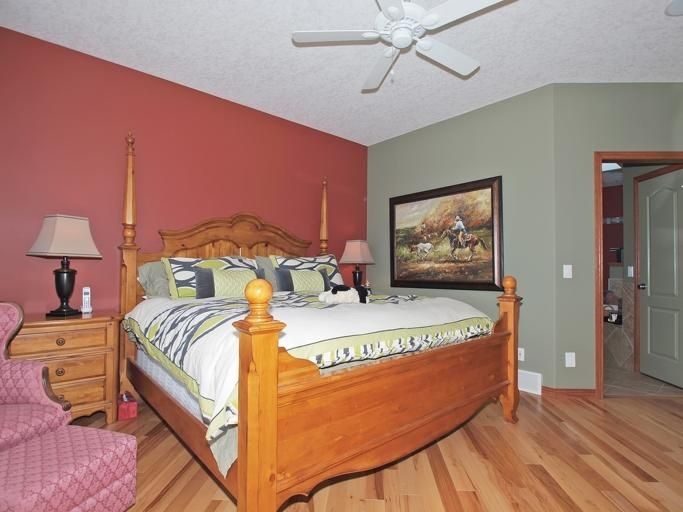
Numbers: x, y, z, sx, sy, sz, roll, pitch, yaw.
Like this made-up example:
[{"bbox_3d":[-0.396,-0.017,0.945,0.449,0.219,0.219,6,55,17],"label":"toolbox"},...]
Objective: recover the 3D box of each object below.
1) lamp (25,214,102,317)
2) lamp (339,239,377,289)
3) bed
[{"bbox_3d":[-2.335,0.069,3.850,0.400,0.827,0.416,8,14,33],"label":"lamp"},{"bbox_3d":[0.106,0.077,5.900,0.553,0.602,0.481,-1,1,-33],"label":"lamp"},{"bbox_3d":[-0.485,0.989,3.983,2.357,1.921,2.582,1,-3,-36],"label":"bed"}]
